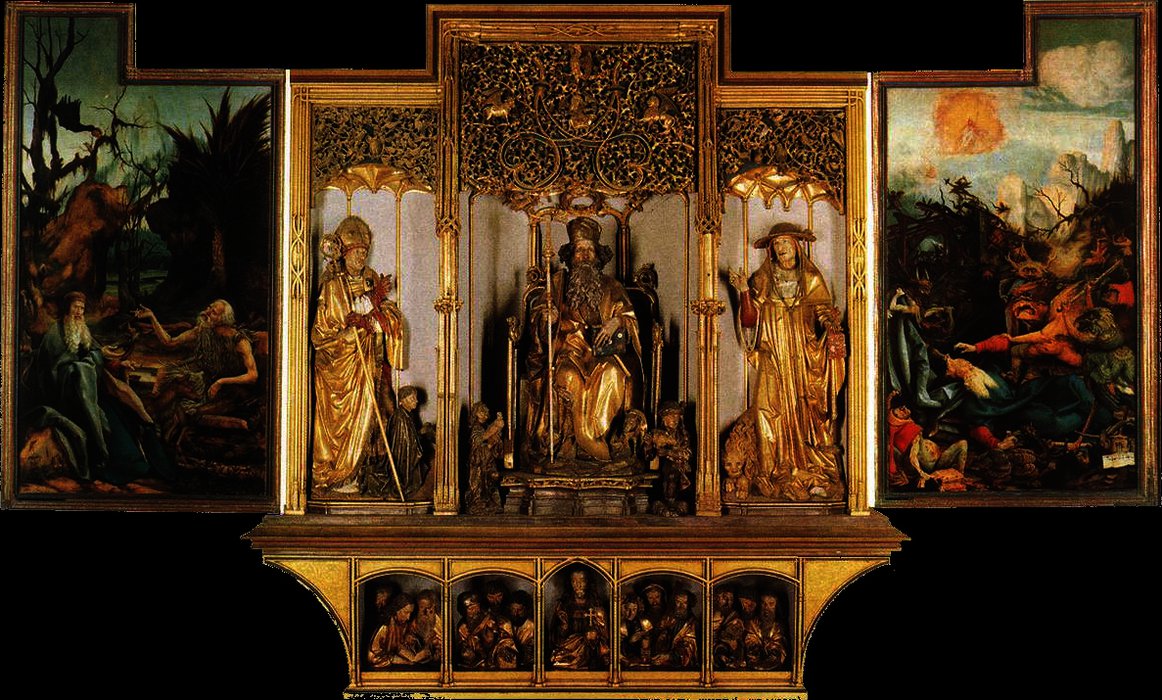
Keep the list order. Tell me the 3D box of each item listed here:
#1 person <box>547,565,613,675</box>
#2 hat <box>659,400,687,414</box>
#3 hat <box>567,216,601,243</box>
[{"bbox_3d":[-0.061,3.405,34.217,0.810,1.168,0.226,1,0,-3],"label":"person"},{"bbox_3d":[1.159,0.711,34.465,0.356,0.165,0.211,1,0,-1],"label":"hat"},{"bbox_3d":[0.016,-1.617,34.611,0.366,0.205,0.346,1,2,44],"label":"hat"}]
